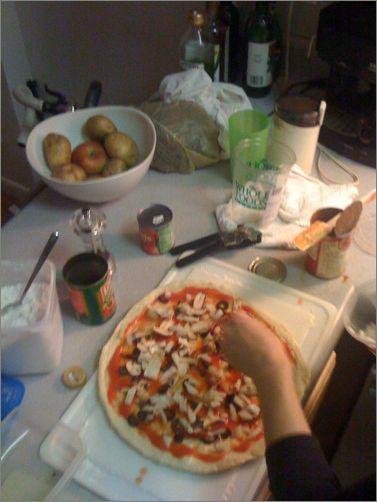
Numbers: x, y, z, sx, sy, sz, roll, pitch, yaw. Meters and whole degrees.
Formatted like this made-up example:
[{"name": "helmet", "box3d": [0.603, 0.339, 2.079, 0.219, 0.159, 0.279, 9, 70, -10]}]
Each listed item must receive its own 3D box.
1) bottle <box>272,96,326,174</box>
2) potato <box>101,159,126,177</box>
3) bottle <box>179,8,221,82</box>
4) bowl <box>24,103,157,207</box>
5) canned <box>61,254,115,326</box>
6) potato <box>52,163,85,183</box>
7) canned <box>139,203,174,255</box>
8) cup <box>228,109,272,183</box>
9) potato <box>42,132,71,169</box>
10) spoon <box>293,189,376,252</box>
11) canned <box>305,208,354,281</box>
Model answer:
[{"name": "bottle", "box3d": [0.244, -0.270, 0.842, 0.081, 0.176, 0.112, 13, 58, 17]}, {"name": "potato", "box3d": [-0.155, -0.173, 0.775, 0.033, 0.026, 0.044, -16, 30, 8]}, {"name": "bottle", "box3d": [0.034, -0.508, 0.940, 0.110, 0.206, 0.154, -3, 40, -2]}, {"name": "bowl", "box3d": [-0.204, -0.228, 0.814, 0.195, 0.124, 0.277, 24, 59, 20]}, {"name": "canned", "box3d": [-0.157, 0.058, 0.597, 0.050, 0.110, 0.076, 4, 51, -3]}, {"name": "potato", "box3d": [-0.243, -0.157, 0.751, 0.026, 0.040, 0.041, -3, 88, 7]}, {"name": "canned", "box3d": [-0.055, -0.037, 0.715, 0.059, 0.092, 0.091, -1, 54, 1]}, {"name": "cup", "box3d": [0.129, -0.214, 0.829, 0.078, 0.176, 0.117, -3, 51, 1]}, {"name": "potato", "box3d": [-0.277, -0.226, 0.807, 0.053, 0.088, 0.064, -5, 83, -19]}, {"name": "spoon", "box3d": [0.278, -0.055, 0.709, 0.135, 0.011, 0.030, -52, 36, -4]}, {"name": "canned", "box3d": [0.249, -0.019, 0.653, 0.054, 0.113, 0.072, 6, 51, 14]}]
